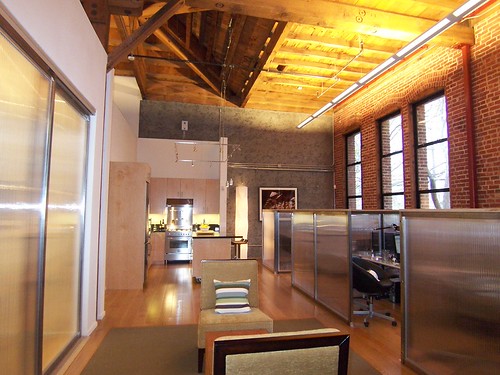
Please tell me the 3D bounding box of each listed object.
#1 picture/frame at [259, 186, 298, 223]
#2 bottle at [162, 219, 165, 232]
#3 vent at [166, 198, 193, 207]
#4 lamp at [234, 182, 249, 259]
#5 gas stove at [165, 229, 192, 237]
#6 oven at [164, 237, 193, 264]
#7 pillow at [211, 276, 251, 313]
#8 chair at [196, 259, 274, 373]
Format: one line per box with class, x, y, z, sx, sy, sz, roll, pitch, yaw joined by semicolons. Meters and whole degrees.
picture/frame;0.739;0.474;10.892;1.142;0.917;0.042;1;-6;-17
bottle;-2.460;1.032;10.883;0.082;0.256;0.281;-1;3;-14
vent;-1.989;0.414;10.824;0.742;0.227;0.140;-1;3;-18
lamp;-0.247;0.989;11.004;0.367;2.049;0.727;0;3;-2
gas stove;-1.975;1.252;10.528;0.691;0.203;0.223;0;3;-12
oven;-1.983;1.658;10.771;0.924;0.839;0.628;1;-5;-12
pillow;-0.244;1.472;5.264;0.688;0.567;0.329;0;-28;-2
chair;-0.346;1.626;5.355;1.138;1.530;1.177;1;-19;-4
